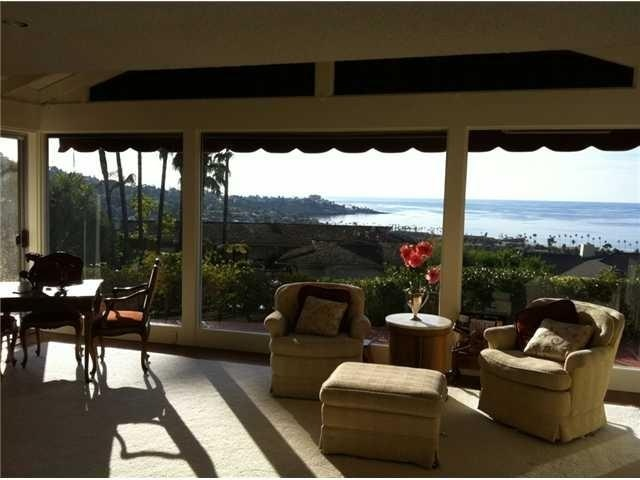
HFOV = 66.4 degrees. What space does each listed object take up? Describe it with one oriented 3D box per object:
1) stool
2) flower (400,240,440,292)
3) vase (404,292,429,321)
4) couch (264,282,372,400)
[{"bbox_3d":[0.504,1.374,3.864,0.926,0.564,0.483,3,7,16],"label":"stool"},{"bbox_3d":[1.120,0.325,5.447,0.435,0.608,0.726,2,7,11],"label":"flower"},{"bbox_3d":[1.023,0.718,5.207,0.247,0.265,0.263,1,-6,0],"label":"vase"},{"bbox_3d":[0.078,0.991,5.172,0.928,1.180,1.041,-1,-14,7],"label":"couch"}]
